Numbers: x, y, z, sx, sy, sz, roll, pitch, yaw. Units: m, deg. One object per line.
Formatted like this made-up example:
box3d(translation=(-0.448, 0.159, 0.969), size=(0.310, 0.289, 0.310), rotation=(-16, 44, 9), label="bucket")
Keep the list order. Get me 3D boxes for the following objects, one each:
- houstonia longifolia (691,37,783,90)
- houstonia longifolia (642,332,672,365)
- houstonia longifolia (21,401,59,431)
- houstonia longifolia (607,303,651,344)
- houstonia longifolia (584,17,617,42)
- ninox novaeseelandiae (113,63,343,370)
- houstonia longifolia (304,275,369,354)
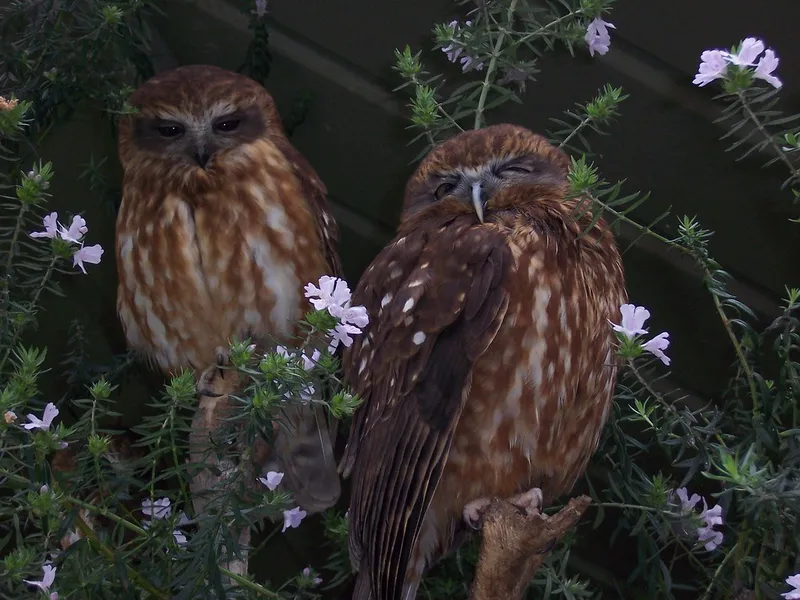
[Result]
box3d(translation=(0.801, -0.556, 2.900), size=(0.192, 0.187, 0.169), rotation=(-4, 12, -13), label="houstonia longifolia")
box3d(translation=(0.624, 0.114, 2.891), size=(0.062, 0.082, 0.210), rotation=(21, 3, 14), label="houstonia longifolia")
box3d(translation=(-0.818, 0.265, 2.746), size=(0.068, 0.036, 0.069), rotation=(-20, 19, -12), label="houstonia longifolia")
box3d(translation=(0.551, 0.059, 2.925), size=(0.111, 0.108, 0.048), rotation=(0, -2, 8), label="houstonia longifolia")
box3d(translation=(0.541, -0.720, 3.250), size=(0.064, 0.064, 0.074), rotation=(21, 2, 16), label="houstonia longifolia")
box3d(translation=(-0.566, -0.267, 3.621), size=(0.619, 0.830, 0.674), rotation=(-4, 13, -6), label="ninox novaeseelandiae")
box3d(translation=(-0.158, 0.037, 2.854), size=(0.154, 0.186, 0.194), rotation=(20, 2, -5), label="houstonia longifolia")
